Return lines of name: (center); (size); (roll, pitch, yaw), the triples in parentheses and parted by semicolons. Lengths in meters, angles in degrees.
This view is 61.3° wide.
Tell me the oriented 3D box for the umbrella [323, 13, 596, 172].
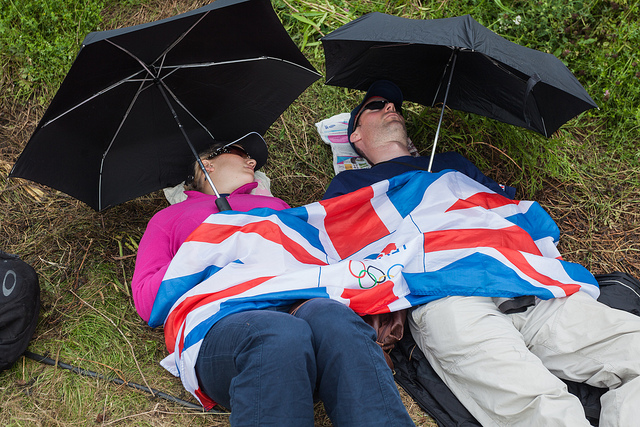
umbrella: (1.166, -1.111, 4.317); (1.672, 1.526, 1.076); (21, 84, 33)
